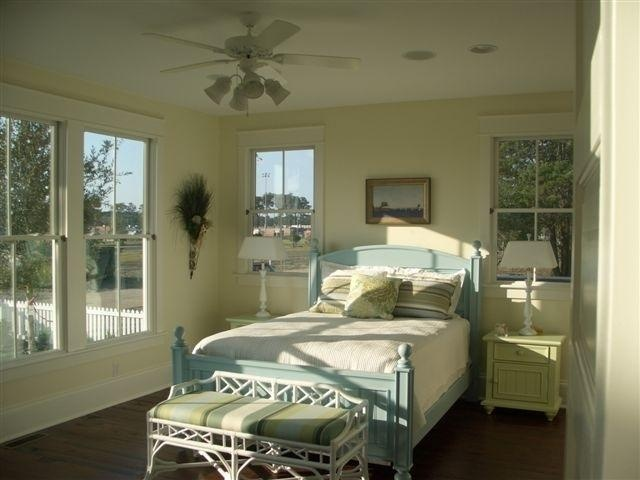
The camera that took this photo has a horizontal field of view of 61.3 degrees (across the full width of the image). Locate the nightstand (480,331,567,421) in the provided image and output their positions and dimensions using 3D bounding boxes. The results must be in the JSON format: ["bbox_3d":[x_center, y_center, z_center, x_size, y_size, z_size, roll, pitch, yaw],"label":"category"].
[{"bbox_3d":[1.775,1.202,4.646,0.626,0.618,0.461,-3,-18,35],"label":"nightstand"}]

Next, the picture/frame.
[{"bbox_3d":[0.795,-0.382,5.304,0.480,0.348,0.036,-1,0,18],"label":"picture/frame"}]

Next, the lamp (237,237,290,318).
[{"bbox_3d":[-0.587,0.386,5.619,0.600,0.791,0.580,1,0,-37],"label":"lamp"}]

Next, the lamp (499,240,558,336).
[{"bbox_3d":[1.790,0.412,4.649,0.429,0.805,0.589,0,2,19],"label":"lamp"}]

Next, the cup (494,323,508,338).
[{"bbox_3d":[1.585,0.783,4.676,0.103,0.097,0.095,0,3,0],"label":"cup"}]

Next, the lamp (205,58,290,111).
[{"bbox_3d":[-0.499,-0.973,3.197,0.292,0.254,0.306,-2,-15,15],"label":"lamp"}]

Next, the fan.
[{"bbox_3d":[-0.266,-1.046,2.959,0.582,0.166,0.614,-1,4,-8],"label":"fan"}]
